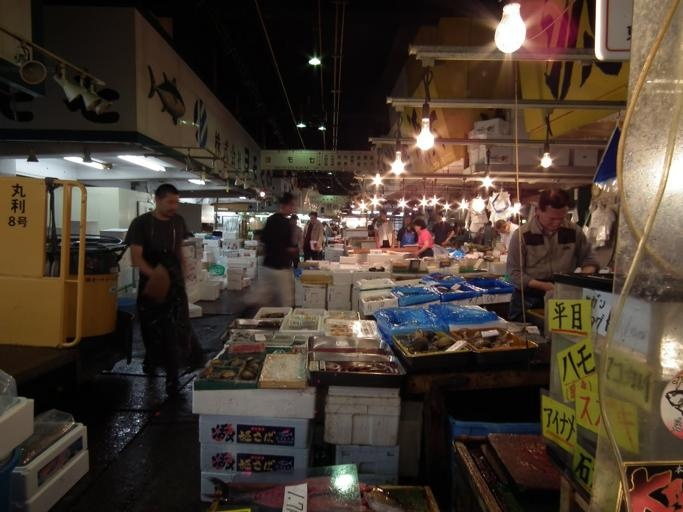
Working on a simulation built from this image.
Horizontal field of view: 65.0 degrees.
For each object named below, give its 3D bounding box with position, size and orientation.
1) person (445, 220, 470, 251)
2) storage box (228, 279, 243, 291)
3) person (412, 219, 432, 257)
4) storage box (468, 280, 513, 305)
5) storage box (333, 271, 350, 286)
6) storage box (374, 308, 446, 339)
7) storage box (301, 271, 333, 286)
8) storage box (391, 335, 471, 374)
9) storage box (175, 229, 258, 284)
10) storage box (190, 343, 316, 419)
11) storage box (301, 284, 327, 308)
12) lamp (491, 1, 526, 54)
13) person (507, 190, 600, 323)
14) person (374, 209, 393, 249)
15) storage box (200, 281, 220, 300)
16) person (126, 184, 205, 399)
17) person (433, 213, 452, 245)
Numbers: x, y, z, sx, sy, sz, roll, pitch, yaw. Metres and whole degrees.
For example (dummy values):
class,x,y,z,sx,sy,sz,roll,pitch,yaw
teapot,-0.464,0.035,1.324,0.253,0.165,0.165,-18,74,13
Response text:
class,x,y,z,sx,sy,sz,roll,pitch,yaw
person,2.811,-0.480,12.977,0.698,0.717,1.271,2,-4,4
storage box,-2.261,0.611,11.202,0.203,0.134,0.208,-1,5,5
person,1.589,-0.413,10.377,0.360,0.711,1.495,-1,10,9
storage box,1.800,0.406,6.427,0.301,0.134,0.407,-1,7,-3
storage box,-0.004,0.307,7.215,0.183,0.121,0.189,0,5,7
storage box,0.580,0.575,4.829,0.326,0.120,0.345,-2,6,-19
storage box,-0.353,0.305,7.262,0.427,0.185,0.149,-1,9,5
storage box,0.723,0.752,4.347,0.535,0.212,0.499,-4,10,-10
storage box,-2.686,0.026,12.076,1.347,0.507,1.387,4,11,16
storage box,-0.659,0.985,4.251,0.909,0.396,0.614,-2,9,0
storage box,-0.375,0.554,7.346,0.308,0.308,0.317,3,6,15
lamp,1.193,-1.613,3.794,0.191,0.315,0.133,1,9,21
person,1.996,0.031,5.068,0.809,1.310,1.107,1,9,17
person,1.050,-0.702,13.274,0.473,0.841,1.444,-1,9,5
storage box,-2.447,0.640,9.967,0.304,0.199,0.311,-3,8,-14
person,-1.889,0.292,5.784,0.695,2.116,0.697,4,11,36
person,2.405,-0.648,12.784,0.456,0.745,0.876,0,9,9
